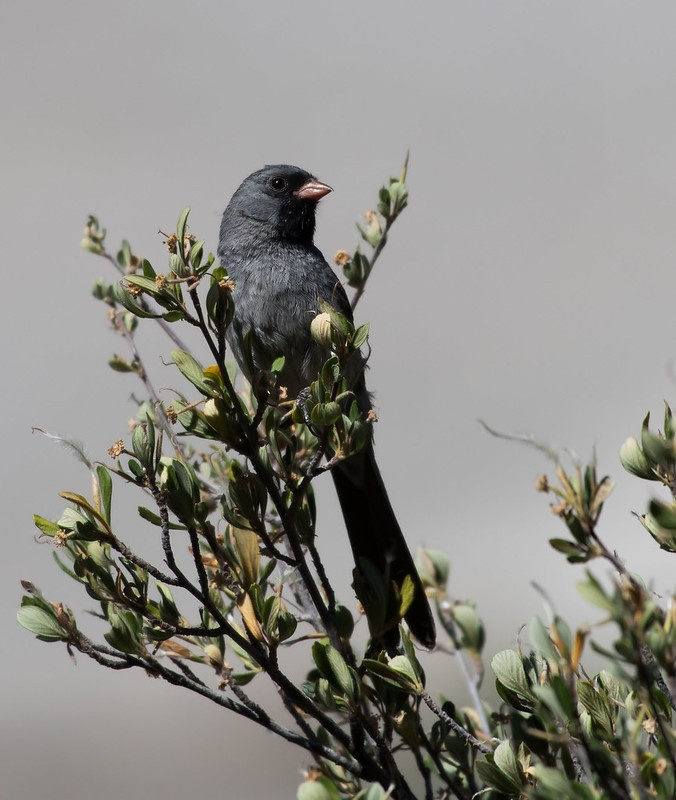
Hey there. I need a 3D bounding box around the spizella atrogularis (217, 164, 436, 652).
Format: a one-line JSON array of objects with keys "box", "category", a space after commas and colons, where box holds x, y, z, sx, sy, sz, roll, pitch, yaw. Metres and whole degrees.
[{"box": [-0.066, -0.086, 3.427, 0.445, 1.542, 0.603, -14, -14, 14], "category": "spizella atrogularis"}]
